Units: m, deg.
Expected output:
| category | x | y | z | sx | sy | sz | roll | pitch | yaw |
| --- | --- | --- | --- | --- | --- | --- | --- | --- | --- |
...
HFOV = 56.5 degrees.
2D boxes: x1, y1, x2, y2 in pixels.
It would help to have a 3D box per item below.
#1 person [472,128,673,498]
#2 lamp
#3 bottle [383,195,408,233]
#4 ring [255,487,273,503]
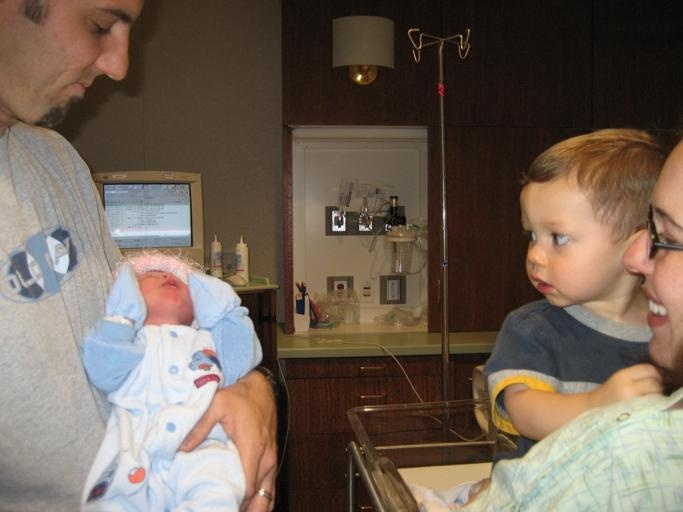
| category | x | y | z | sx | sy | sz | roll | pitch | yaw |
| --- | --- | --- | --- | --- | --- | --- | --- | --- | --- |
| person | 0.603 | 0.104 | 1.523 | 0.386 | 0.807 | 0.432 | -10 | 12 | -41 |
| lamp | 0.117 | -1.043 | 3.262 | 0.326 | 0.323 | 0.334 | -5 | 12 | -34 |
| bottle | 0.321 | -0.244 | 3.692 | 0.140 | 0.209 | 0.230 | -1 | 10 | 1 |
| ring | -0.194 | 0.600 | 1.600 | 0.038 | 0.029 | 0.042 | 1 | -7 | 0 |
